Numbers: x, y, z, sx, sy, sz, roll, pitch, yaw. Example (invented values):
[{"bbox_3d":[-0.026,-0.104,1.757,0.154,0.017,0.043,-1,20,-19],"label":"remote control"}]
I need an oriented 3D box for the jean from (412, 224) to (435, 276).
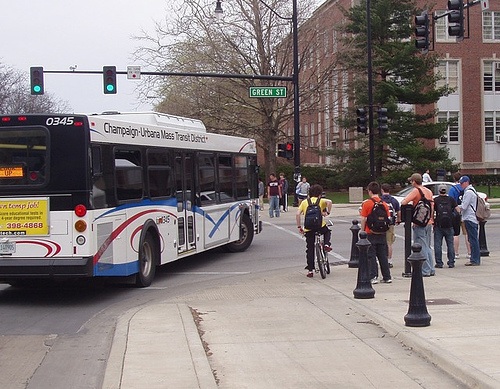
[{"bbox_3d":[3.371,1.082,12.700,0.311,1.027,0.680,-1,2,34],"label":"jean"}]

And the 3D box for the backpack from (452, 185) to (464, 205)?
[{"bbox_3d":[5.224,0.002,16.357,0.218,0.488,0.978,-1,1,17],"label":"backpack"}]

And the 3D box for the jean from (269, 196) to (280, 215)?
[{"bbox_3d":[1.079,0.456,28.803,0.386,0.810,0.676,-1,1,8],"label":"jean"}]

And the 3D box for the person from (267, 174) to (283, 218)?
[{"bbox_3d":[1.083,0.028,28.894,0.541,1.885,1.026,-2,2,2],"label":"person"}]

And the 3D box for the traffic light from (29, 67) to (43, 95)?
[{"bbox_3d":[-8.184,-4.387,25.026,0.448,0.951,0.930,-2,2,-19],"label":"traffic light"}]

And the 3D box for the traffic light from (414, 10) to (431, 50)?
[{"bbox_3d":[4.976,-4.620,18.615,0.442,1.100,0.388,-12,21,-12],"label":"traffic light"}]

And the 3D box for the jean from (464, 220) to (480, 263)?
[{"bbox_3d":[4.886,1.015,14.341,0.294,0.921,0.334,-1,2,19],"label":"jean"}]

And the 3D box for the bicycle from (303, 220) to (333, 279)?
[{"bbox_3d":[1.467,1.131,13.193,0.293,1.007,0.832,-1,1,5],"label":"bicycle"}]

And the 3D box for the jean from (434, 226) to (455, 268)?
[{"bbox_3d":[4.217,1.101,14.146,0.402,0.911,0.739,-1,2,16],"label":"jean"}]

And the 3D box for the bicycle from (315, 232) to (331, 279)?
[{"bbox_3d":[1.459,1.185,13.076,0.274,0.904,0.595,-1,2,5],"label":"bicycle"}]

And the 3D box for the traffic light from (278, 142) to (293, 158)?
[{"bbox_3d":[1.634,-2.020,29.414,0.638,0.729,1.040,-2,1,3],"label":"traffic light"}]

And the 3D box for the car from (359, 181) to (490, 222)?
[{"bbox_3d":[6.998,0.043,22.912,2.882,0.916,1.149,8,-11,22],"label":"car"}]

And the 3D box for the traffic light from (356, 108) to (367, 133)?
[{"bbox_3d":[4.326,-2.918,25.211,0.342,0.964,1.279,-1,1,9],"label":"traffic light"}]

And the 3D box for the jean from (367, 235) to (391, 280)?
[{"bbox_3d":[2.428,1.143,12.307,0.437,0.953,0.304,-3,-4,-7],"label":"jean"}]

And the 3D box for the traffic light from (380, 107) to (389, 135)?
[{"bbox_3d":[5.107,-2.884,24.867,0.260,0.904,0.558,-1,2,9],"label":"traffic light"}]

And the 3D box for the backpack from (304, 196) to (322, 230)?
[{"bbox_3d":[1.265,0.360,12.977,0.333,0.653,0.332,-1,2,6],"label":"backpack"}]

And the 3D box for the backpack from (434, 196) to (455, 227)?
[{"bbox_3d":[4.218,0.381,13.815,0.501,0.655,0.399,-6,11,12],"label":"backpack"}]

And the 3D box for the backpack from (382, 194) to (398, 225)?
[{"bbox_3d":[2.799,0.304,13.487,0.452,0.630,0.593,3,-1,8],"label":"backpack"}]

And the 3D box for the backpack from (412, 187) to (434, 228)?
[{"bbox_3d":[3.314,0.246,12.500,0.464,0.845,0.653,4,-8,25],"label":"backpack"}]

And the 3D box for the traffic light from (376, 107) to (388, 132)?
[{"bbox_3d":[5.134,-2.937,25.267,0.329,0.990,1.362,-1,1,10],"label":"traffic light"}]

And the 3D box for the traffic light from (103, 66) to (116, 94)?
[{"bbox_3d":[-5.392,-4.388,24.982,0.487,1.038,0.281,-2,2,-8],"label":"traffic light"}]
